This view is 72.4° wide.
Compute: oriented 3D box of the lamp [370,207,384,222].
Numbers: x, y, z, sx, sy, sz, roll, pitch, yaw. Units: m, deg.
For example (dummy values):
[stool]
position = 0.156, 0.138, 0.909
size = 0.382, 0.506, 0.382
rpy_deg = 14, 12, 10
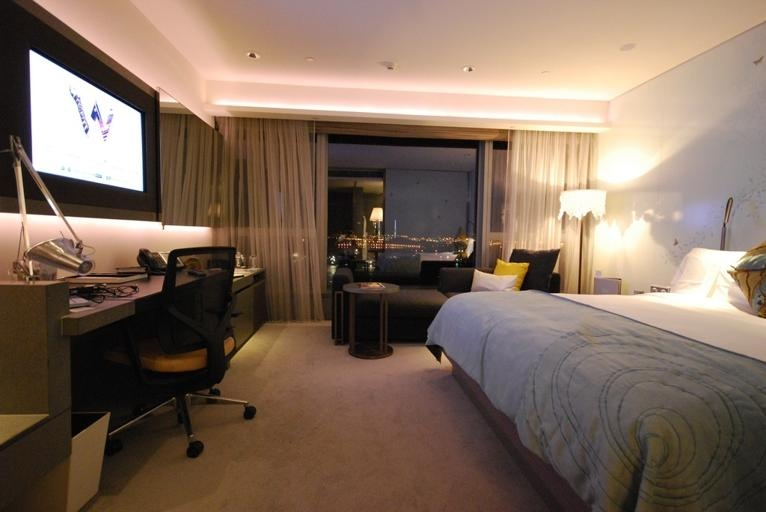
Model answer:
[lamp]
position = -0.088, -0.531, 6.797
size = 0.182, 0.175, 0.182
rpy_deg = 1, -2, -15

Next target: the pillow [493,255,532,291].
[pillow]
position = 1.462, 0.164, 6.016
size = 0.515, 0.467, 0.271
rpy_deg = 0, 1, 39

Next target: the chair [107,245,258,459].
[chair]
position = -1.553, 0.587, 3.903
size = 0.970, 1.464, 1.084
rpy_deg = 4, 9, 19
